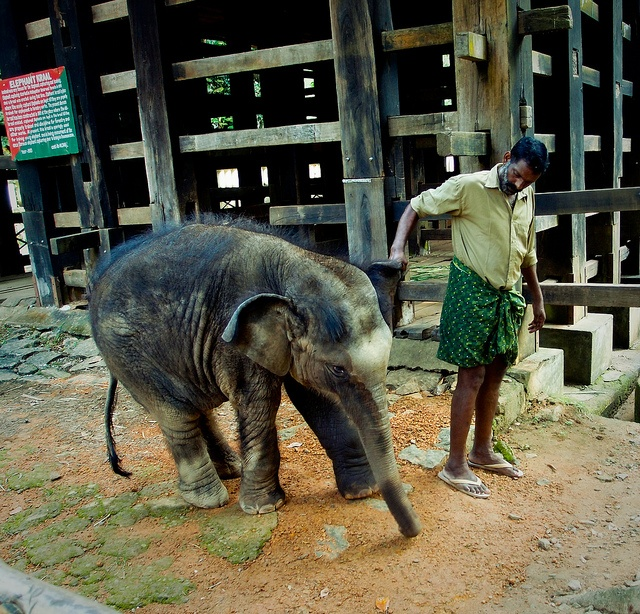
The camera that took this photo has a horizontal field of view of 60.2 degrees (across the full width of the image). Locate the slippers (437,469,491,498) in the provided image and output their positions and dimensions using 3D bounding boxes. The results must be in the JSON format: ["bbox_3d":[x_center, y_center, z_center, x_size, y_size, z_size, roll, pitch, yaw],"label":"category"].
[{"bbox_3d":[0.844,1.016,3.172,0.212,0.056,0.109,15,19,39],"label":"slippers"}]

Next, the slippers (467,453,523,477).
[{"bbox_3d":[1.096,0.978,3.405,0.288,0.083,0.137,10,15,29],"label":"slippers"}]

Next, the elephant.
[{"bbox_3d":[-0.349,0.372,3.132,1.952,1.714,0.883,3,12,34],"label":"elephant"}]
